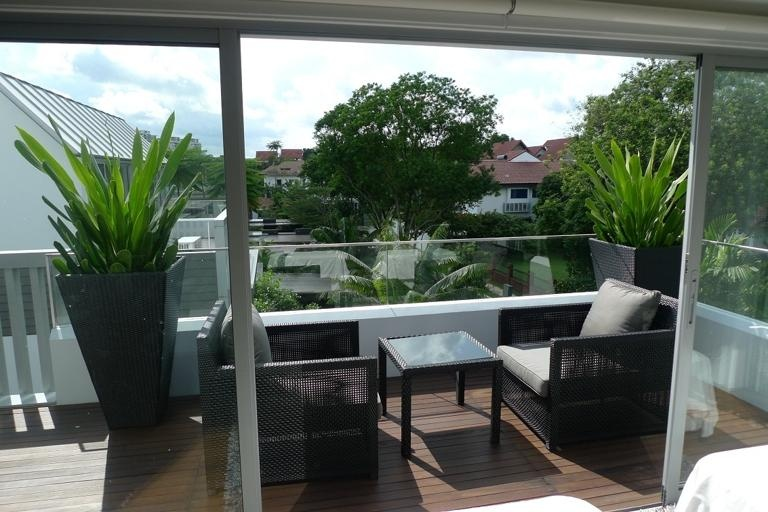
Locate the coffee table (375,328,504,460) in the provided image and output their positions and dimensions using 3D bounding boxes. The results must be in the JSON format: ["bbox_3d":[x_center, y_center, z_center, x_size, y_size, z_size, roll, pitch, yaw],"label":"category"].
[{"bbox_3d":[0.434,1.050,4.248,0.887,0.735,0.734,-4,7,-10],"label":"coffee table"}]

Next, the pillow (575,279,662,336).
[{"bbox_3d":[1.840,0.500,4.264,0.320,0.581,0.609,-2,11,-14],"label":"pillow"}]

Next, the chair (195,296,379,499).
[{"bbox_3d":[-0.639,0.956,4.242,1.048,1.040,1.428,0,4,-10],"label":"chair"}]

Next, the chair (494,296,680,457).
[{"bbox_3d":[1.657,0.855,4.376,1.207,0.911,0.950,-4,9,-14],"label":"chair"}]

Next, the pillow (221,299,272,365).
[{"bbox_3d":[-0.830,0.473,3.188,0.182,0.288,0.510,-5,-1,-10],"label":"pillow"}]

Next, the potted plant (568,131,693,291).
[{"bbox_3d":[2.573,-0.386,5.438,0.892,1.538,0.705,2,9,32],"label":"potted plant"}]
